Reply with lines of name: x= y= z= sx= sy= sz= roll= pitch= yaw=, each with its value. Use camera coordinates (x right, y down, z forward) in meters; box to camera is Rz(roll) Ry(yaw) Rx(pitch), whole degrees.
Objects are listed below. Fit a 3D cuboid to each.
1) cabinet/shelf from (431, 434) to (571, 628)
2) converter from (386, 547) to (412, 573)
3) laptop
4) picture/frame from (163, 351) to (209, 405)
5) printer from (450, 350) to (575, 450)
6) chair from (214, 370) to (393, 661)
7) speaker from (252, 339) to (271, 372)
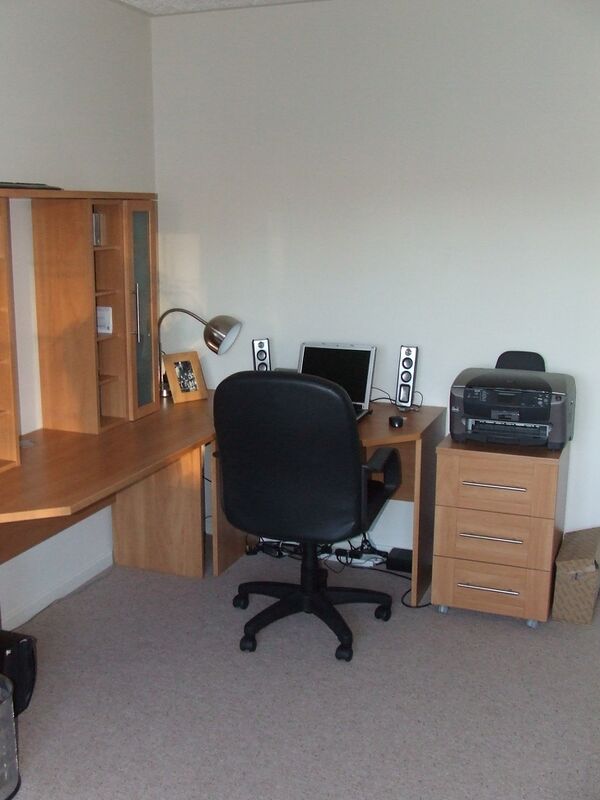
cabinet/shelf: x=0.738 y=0.441 z=2.679 sx=0.543 sy=0.861 sz=0.659 roll=2 pitch=11 yaw=19
converter: x=0.467 y=0.730 z=3.045 sx=0.076 sy=0.051 sz=0.106 roll=3 pitch=12 yaw=15
laptop: x=0.195 y=-0.134 z=3.082 sx=0.405 sy=0.338 sz=0.310 roll=4 pitch=6 yaw=19
picture/frame: x=-0.539 y=-0.100 z=3.101 sx=0.241 sy=0.281 sz=0.015 roll=-10 pitch=-12 yaw=-42
printer: x=0.835 y=-0.010 z=2.554 sx=0.454 sy=0.355 sz=0.319 roll=4 pitch=12 yaw=27
chair: x=0.022 y=0.382 z=2.241 sx=0.556 sy=1.021 sz=0.642 roll=3 pitch=9 yaw=17
speaker: x=-0.183 y=-0.217 z=3.138 sx=0.087 sy=0.141 sz=0.165 roll=1 pitch=8 yaw=4
